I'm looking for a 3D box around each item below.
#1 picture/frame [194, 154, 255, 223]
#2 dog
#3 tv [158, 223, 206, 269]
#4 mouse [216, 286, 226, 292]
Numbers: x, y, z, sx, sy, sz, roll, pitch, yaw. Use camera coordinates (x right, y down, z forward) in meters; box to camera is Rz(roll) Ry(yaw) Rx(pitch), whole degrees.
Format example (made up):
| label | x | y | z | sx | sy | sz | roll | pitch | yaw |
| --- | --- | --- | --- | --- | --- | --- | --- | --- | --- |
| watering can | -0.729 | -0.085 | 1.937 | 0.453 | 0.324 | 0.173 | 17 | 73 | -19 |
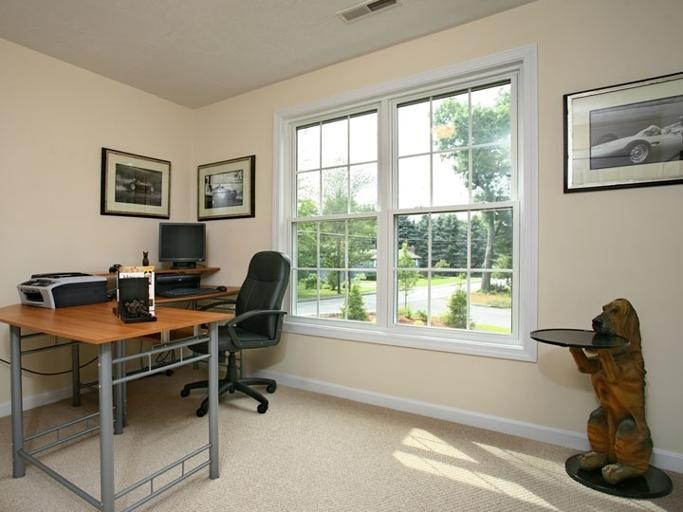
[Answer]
| label | x | y | z | sx | sy | sz | roll | pitch | yaw |
| --- | --- | --- | --- | --- | --- | --- | --- | --- | --- |
| picture/frame | -1.270 | -0.678 | 5.016 | 0.914 | 0.543 | 0.030 | 0 | -4 | 29 |
| dog | 1.811 | 0.818 | 3.094 | 0.468 | 1.038 | 0.481 | -11 | 20 | -35 |
| tv | -1.689 | -0.114 | 4.821 | 0.548 | 0.439 | 0.178 | 0 | -4 | -23 |
| mouse | -1.226 | 0.307 | 4.629 | 0.076 | 0.023 | 0.052 | 5 | 1 | -36 |
